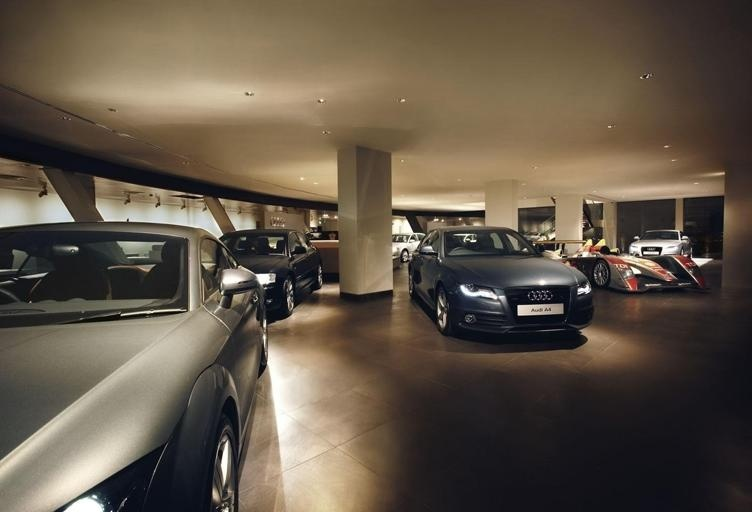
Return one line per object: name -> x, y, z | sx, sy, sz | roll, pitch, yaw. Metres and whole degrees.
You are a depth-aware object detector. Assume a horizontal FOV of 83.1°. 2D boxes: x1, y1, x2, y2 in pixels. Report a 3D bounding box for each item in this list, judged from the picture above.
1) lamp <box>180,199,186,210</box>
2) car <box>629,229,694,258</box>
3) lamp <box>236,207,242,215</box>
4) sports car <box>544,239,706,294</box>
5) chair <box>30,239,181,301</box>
lamp -> -8.179, -2.164, 18.045 | 0.247, 0.447, 1.690 | -6, 12, -24
car -> 10.051, -0.437, 14.838 | 3.286, 0.998, 1.389 | 2, -3, -42
lamp -> -6.729, -2.168, 20.887 | 0.329, 0.453, 0.147 | 3, -10, -2
sports car -> 5.044, 0.276, 9.899 | 2.055, 0.963, 3.407 | 0, 1, -22
chair -> -2.062, 0.155, 3.198 | 0.547, 0.352, 0.754 | 1, 4, -1
